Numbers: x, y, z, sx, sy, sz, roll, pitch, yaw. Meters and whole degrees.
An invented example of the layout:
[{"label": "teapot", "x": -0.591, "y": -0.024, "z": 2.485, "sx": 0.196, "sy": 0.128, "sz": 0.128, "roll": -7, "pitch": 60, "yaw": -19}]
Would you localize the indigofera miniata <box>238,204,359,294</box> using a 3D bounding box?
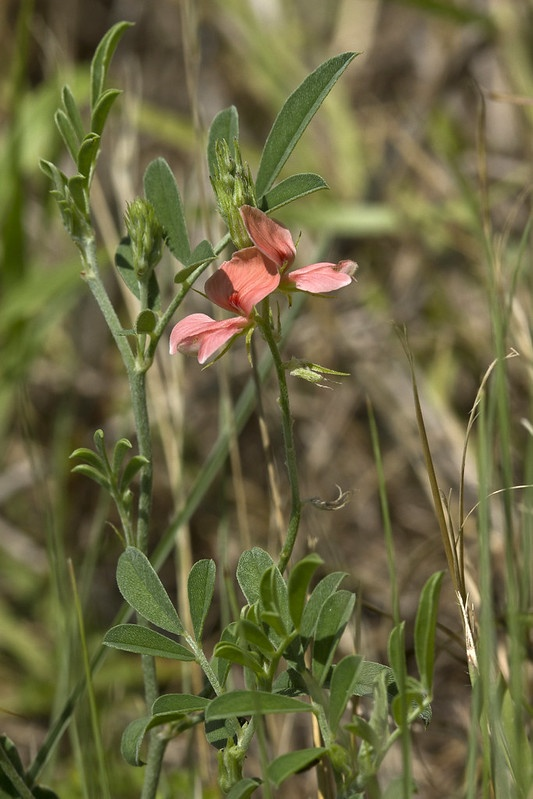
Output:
[{"label": "indigofera miniata", "x": 0.016, "y": -0.127, "z": 0.688, "sx": 0.087, "sy": 0.083, "sz": 0.043, "roll": -4, "pitch": 84, "yaw": 9}]
